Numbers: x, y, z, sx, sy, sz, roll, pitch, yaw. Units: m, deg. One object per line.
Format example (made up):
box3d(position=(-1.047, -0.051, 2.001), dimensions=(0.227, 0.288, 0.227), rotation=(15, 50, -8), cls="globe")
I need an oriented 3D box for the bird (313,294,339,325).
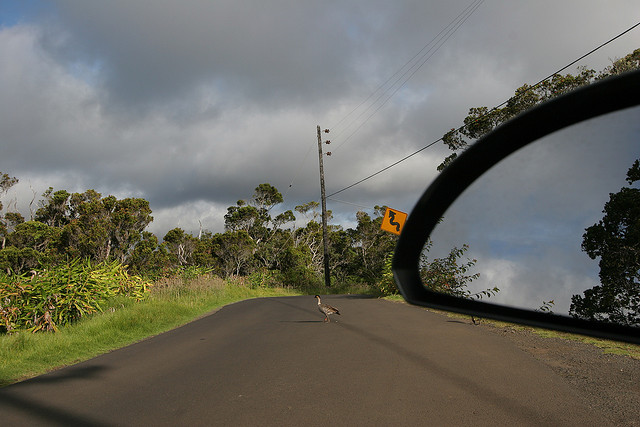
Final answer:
box3d(position=(0.323, 2.678, 12.078), dimensions=(0.919, 1.035, 0.419), rotation=(7, -20, -24), cls="bird")
